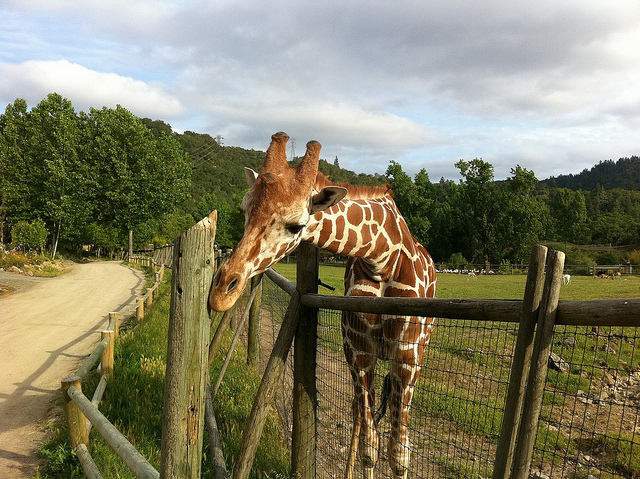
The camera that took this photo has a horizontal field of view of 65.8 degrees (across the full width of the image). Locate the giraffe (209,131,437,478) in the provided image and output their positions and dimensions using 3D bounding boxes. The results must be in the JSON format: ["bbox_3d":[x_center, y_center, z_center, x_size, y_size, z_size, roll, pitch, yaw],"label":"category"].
[{"bbox_3d":[0.241,1.002,5.975,2.680,4.273,1.395,4,4,-12],"label":"giraffe"}]
